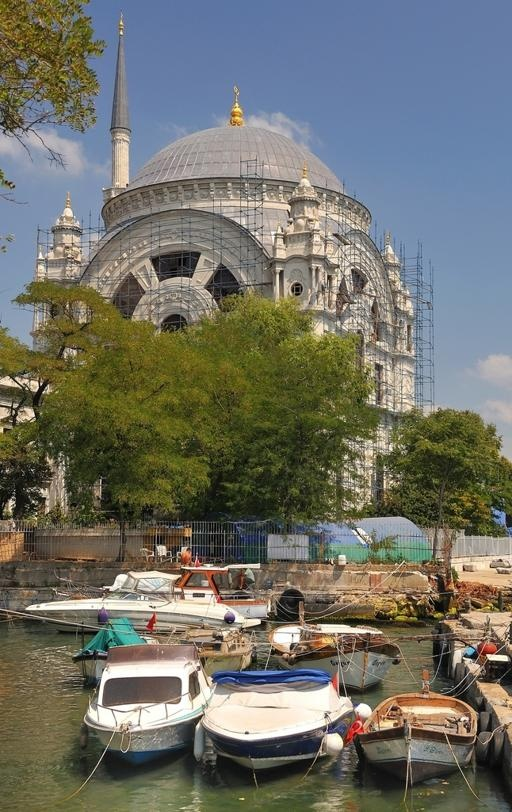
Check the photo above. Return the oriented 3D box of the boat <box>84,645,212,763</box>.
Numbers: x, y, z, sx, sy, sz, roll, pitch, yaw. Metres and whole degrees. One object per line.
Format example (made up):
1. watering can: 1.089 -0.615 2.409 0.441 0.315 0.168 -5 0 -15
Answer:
1. boat: -1.689 4.639 16.603 1.706 1.497 2.258 1 -4 11

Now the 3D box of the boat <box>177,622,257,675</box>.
1. boat: -0.610 4.827 21.289 0.744 0.628 2.347 2 -3 11

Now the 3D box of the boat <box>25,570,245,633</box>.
1. boat: -2.852 4.824 25.702 4.960 1.346 2.091 1 -10 9

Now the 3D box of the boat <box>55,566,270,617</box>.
1. boat: -2.264 4.921 28.038 3.671 0.862 1.475 4 -13 -10

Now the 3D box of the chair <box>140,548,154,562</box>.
1. chair: -3.556 4.889 34.876 0.381 0.521 0.408 -2 -4 24

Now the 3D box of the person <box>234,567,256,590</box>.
1. person: -0.226 4.748 29.152 0.456 0.778 0.741 2 -6 6

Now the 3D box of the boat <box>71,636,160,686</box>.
1. boat: -3.236 5.263 22.691 1.128 0.974 2.664 1 -4 8

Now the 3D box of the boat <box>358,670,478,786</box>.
1. boat: 2.492 5.011 16.352 1.201 0.788 2.355 -1 -5 7

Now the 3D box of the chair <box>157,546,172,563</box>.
1. chair: -2.953 4.812 34.543 0.515 0.702 0.495 5 -12 -33
